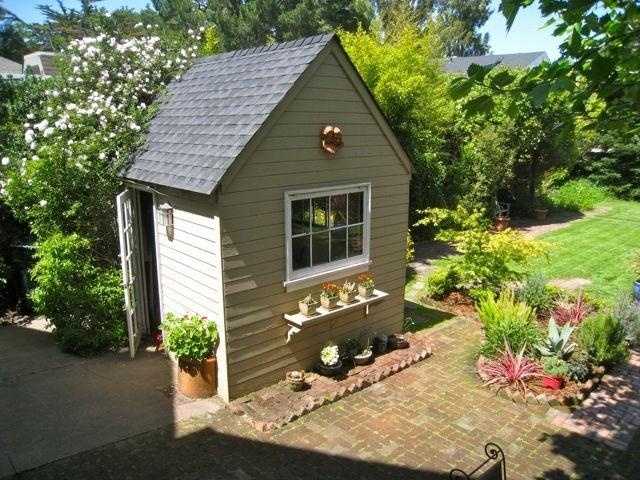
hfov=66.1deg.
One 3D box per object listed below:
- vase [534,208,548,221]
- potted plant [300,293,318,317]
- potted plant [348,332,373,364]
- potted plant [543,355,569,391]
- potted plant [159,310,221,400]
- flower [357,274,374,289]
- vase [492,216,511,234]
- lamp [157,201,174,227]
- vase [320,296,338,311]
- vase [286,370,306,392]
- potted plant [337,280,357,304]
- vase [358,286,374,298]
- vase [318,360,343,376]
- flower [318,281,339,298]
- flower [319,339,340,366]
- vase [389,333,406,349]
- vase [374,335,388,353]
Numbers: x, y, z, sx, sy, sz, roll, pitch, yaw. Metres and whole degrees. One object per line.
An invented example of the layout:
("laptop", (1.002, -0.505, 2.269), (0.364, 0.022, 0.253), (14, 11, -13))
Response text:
("vase", (10.028, -1.139, 22.306), (0.584, 0.417, 0.570), (4, 9, 11))
("potted plant", (-0.146, 1.110, 8.363), (0.306, 0.389, 0.325), (-1, 5, -39))
("potted plant", (0.741, 2.087, 9.248), (0.461, 0.542, 0.483), (1, 6, 33))
("potted plant", (4.018, 2.335, 8.595), (0.480, 0.459, 0.467), (2, 3, 10))
("potted plant", (-2.108, 1.948, 8.167), (0.969, 1.382, 0.576), (1, 5, -2))
("flower", (0.859, 0.782, 9.181), (0.240, 0.248, 0.260), (2, 7, -3))
("vase", (6.554, -0.522, 17.909), (0.705, 0.492, 0.688), (5, 14, 16))
("lamp", (-2.704, -0.434, 8.639), (0.116, 0.398, 0.397), (-4, 7, -44))
("vase", (0.166, 1.088, 8.499), (0.257, 0.167, 0.215), (-6, 13, -34))
("vase", (-0.418, 2.413, 8.382), (0.314, 0.270, 0.407), (1, 5, -2))
("potted plant", (0.512, 0.950, 8.990), (0.287, 0.370, 0.606), (2, 5, 5))
("vase", (0.851, 0.961, 9.103), (0.222, 0.162, 0.230), (9, 13, 36))
("vase", (0.205, 2.285, 8.681), (0.303, 0.128, 0.295), (-1, 6, -22))
("flower", (0.175, 0.898, 8.659), (0.430, 0.197, 0.408), (-1, 6, -27))
("flower", (0.163, 2.034, 8.792), (0.380, 0.311, 0.347), (1, 0, 45))
("vase", (1.545, 2.051, 9.728), (0.370, 0.204, 0.252), (-3, 6, -38))
("vase", (1.169, 2.046, 9.577), (0.289, 0.229, 0.275), (-1, 5, -25))
